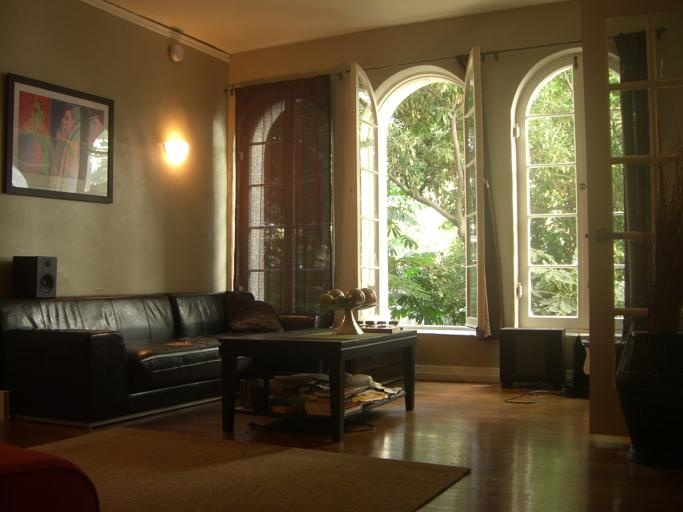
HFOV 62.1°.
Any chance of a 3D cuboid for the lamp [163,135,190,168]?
[{"bbox_3d":[-1.762,-1.115,6.040,0.265,0.242,0.309,-1,-1,-3],"label":"lamp"}]
